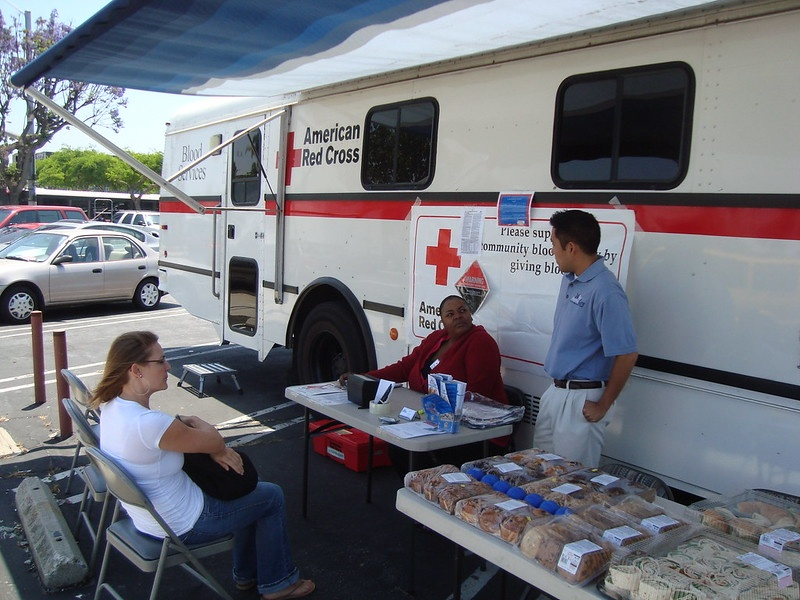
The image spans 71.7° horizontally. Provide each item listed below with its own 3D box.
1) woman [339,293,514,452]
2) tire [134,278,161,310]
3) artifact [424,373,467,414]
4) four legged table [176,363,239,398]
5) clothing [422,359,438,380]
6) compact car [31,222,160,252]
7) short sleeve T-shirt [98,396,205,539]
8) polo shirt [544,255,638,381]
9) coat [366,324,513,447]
[{"bbox_3d":[0.258,0.554,4.681,1.141,1.960,0.977,2,-5,-26],"label":"woman"},{"bbox_3d":[-5.131,-0.132,11.200,0.193,0.608,0.608,7,8,33],"label":"tire"},{"bbox_3d":[0.265,0.553,3.217,0.107,0.237,0.246,-1,6,-25],"label":"artifact"},{"bbox_3d":[-2.302,1.039,6.755,0.440,0.202,0.549,-7,14,-38],"label":"four legged table"},{"bbox_3d":[0.222,0.510,4.102,0.040,0.131,0.127,35,-19,-19],"label":"clothing"},{"bbox_3d":[-6.202,-1.276,11.211,2.489,0.822,1.141,-2,5,-23],"label":"compact car"},{"bbox_3d":[-1.258,0.830,2.757,0.503,0.690,0.197,0,11,20],"label":"short sleeve T-shirt"},{"bbox_3d":[1.137,0.115,3.235,0.326,0.577,0.632,11,11,-20],"label":"polo shirt"},{"bbox_3d":[0.322,0.423,3.920,0.737,0.466,1.276,2,3,-23],"label":"coat"}]
